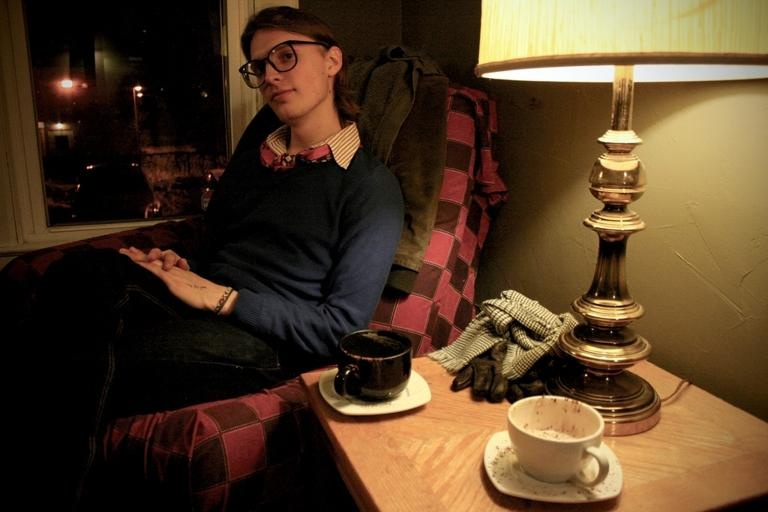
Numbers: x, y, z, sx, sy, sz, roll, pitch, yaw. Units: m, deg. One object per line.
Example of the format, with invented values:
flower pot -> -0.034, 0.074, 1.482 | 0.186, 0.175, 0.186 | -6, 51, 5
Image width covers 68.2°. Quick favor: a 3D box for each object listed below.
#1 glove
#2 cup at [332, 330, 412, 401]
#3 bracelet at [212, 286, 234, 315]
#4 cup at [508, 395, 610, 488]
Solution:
glove -> 0.258, 0.274, 1.273 | 0.123, 0.051, 0.120 | -26, 42, -20
cup -> -0.021, 0.232, 1.184 | 0.166, 0.101, 0.125 | -11, 16, -41
bracelet -> -0.436, 0.123, 1.579 | 0.059, 0.017, 0.060 | -60, 8, -28
cup -> 0.311, 0.332, 1.043 | 0.141, 0.084, 0.175 | -5, 20, -18
